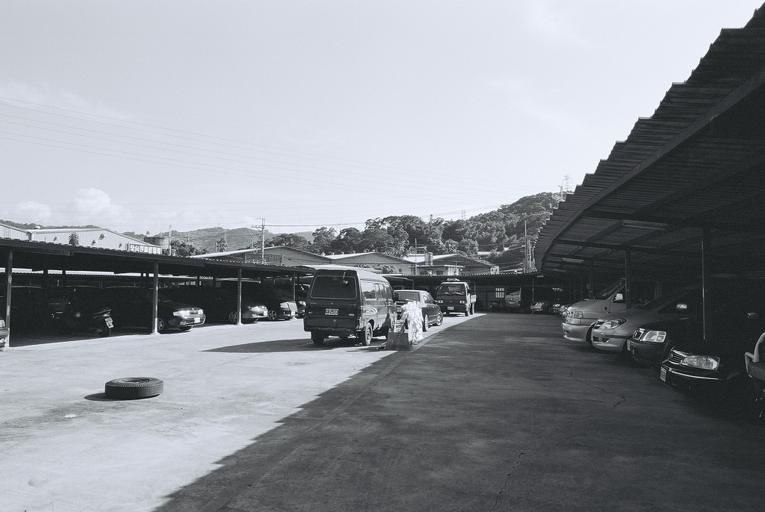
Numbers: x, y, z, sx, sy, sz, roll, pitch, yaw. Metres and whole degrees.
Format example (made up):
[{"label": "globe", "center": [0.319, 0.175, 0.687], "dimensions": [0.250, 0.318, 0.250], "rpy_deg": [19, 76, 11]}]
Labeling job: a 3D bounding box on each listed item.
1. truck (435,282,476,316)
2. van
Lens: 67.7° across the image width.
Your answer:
[{"label": "truck", "center": [4.860, 2.935, 37.999], "dimensions": [1.778, 1.439, 3.283], "rpy_deg": [-1, -8, 10]}, {"label": "van", "center": [-0.906, 1.655, 19.257], "dimensions": [2.174, 2.045, 4.344], "rpy_deg": [1, -3, 15]}]
